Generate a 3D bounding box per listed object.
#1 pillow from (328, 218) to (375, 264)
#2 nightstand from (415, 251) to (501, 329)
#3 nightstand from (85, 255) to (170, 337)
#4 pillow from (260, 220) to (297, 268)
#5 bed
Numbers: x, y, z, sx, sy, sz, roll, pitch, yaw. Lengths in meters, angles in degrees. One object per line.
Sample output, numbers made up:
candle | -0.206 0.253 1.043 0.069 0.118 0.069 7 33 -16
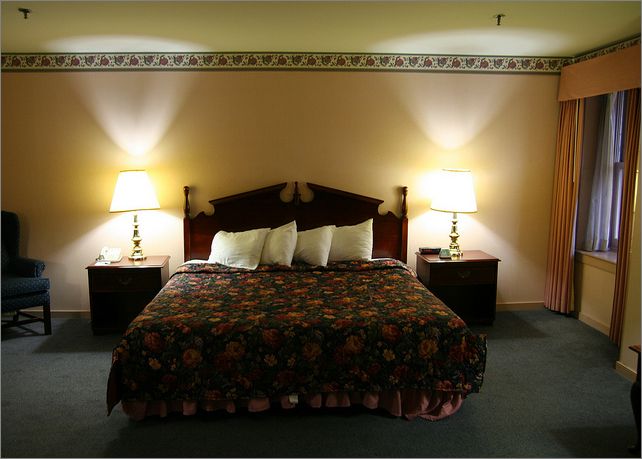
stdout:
pillow | 0.347 0.140 5.707 0.470 0.374 0.172 -2 -35 3
nightstand | 1.711 0.706 5.896 0.780 0.799 0.638 -2 8 6
nightstand | -2.260 0.764 5.779 0.819 0.833 0.691 0 9 -14
pillow | -0.579 0.182 5.635 0.538 0.508 0.281 -6 -7 26
bed | -0.341 0.928 5.259 2.468 1.711 2.531 -1 10 -1
